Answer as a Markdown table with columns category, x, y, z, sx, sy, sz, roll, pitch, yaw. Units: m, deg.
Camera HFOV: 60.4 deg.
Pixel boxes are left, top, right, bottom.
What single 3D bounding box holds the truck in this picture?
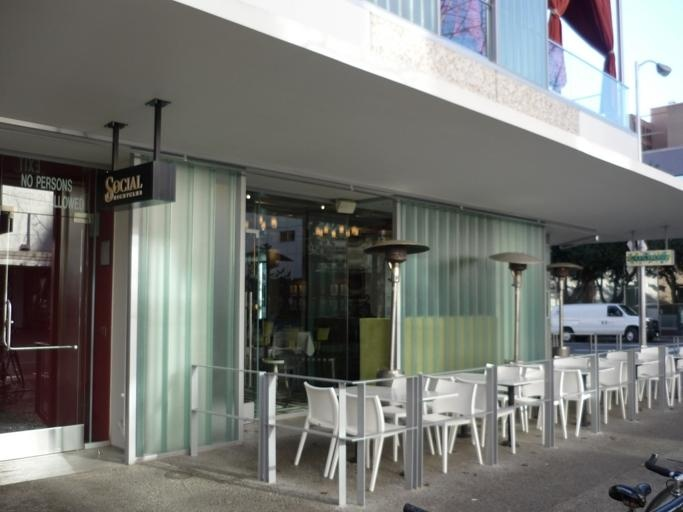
| category | x | y | z | sx | sy | sz | roll | pitch | yaw |
| --- | --- | --- | --- | --- | --- | --- | --- | --- | --- |
| truck | 11.221 | 2.800 | 25.535 | 4.689 | 2.109 | 2.489 | -4 | -7 | 32 |

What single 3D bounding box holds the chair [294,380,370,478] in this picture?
| category | x | y | z | sx | sy | sz | roll | pitch | yaw |
| --- | --- | --- | --- | --- | --- | --- | --- | --- | --- |
| chair | -0.163 | 1.821 | 6.458 | 0.827 | 1.297 | 0.694 | 6 | -4 | -34 |

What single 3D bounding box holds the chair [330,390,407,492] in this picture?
| category | x | y | z | sx | sy | sz | roll | pitch | yaw |
| --- | --- | --- | --- | --- | --- | --- | --- | --- | --- |
| chair | 0.268 | 1.895 | 6.319 | 0.776 | 1.001 | 1.174 | 1 | -1 | -1 |

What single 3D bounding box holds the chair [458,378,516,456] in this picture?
| category | x | y | z | sx | sy | sz | roll | pitch | yaw |
| --- | --- | --- | --- | --- | --- | --- | --- | --- | --- |
| chair | 1.815 | 1.915 | 7.208 | 0.413 | 0.391 | 0.642 | -6 | 41 | 3 |

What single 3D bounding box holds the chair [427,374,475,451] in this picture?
| category | x | y | z | sx | sy | sz | roll | pitch | yaw |
| --- | --- | --- | --- | --- | --- | --- | --- | --- | --- |
| chair | 1.325 | 1.932 | 6.772 | 0.547 | 0.739 | 0.587 | -11 | -12 | 22 |

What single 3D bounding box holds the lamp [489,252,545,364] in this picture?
| category | x | y | z | sx | sy | sz | roll | pitch | yaw |
| --- | --- | --- | --- | --- | --- | --- | --- | --- | --- |
| lamp | 3.150 | 0.966 | 10.713 | 0.763 | 2.052 | 2.111 | 0 | -1 | 17 |

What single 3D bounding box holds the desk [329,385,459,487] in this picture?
| category | x | y | z | sx | sy | sz | roll | pitch | yaw |
| --- | --- | --- | --- | --- | --- | --- | --- | --- | --- |
| desk | 0.452 | 1.941 | 6.274 | 0.879 | 1.481 | 0.833 | 3 | -6 | -34 |

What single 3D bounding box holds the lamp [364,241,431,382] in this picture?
| category | x | y | z | sx | sy | sz | roll | pitch | yaw |
| --- | --- | --- | --- | --- | --- | --- | --- | --- | --- |
| lamp | 0.861 | 0.784 | 9.167 | 1.271 | 2.006 | 1.998 | 0 | -1 | 21 |
